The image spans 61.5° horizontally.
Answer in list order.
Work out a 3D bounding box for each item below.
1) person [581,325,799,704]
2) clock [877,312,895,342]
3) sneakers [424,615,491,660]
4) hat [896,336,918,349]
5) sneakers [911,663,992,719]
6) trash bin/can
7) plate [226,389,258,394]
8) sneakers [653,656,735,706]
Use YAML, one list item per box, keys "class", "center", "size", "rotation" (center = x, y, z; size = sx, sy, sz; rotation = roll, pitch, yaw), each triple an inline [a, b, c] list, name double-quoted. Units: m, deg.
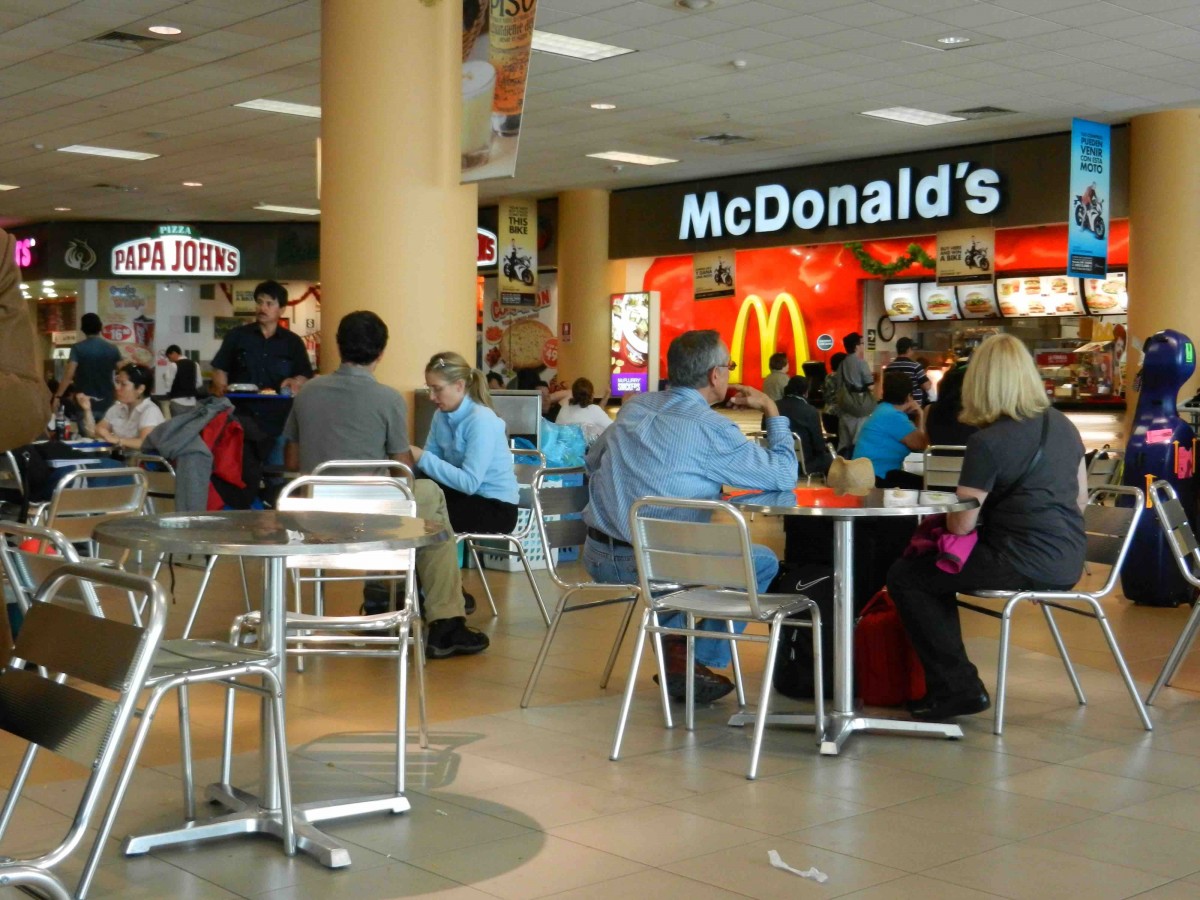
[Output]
- class: "person"
  center: [0.339, 0.291, 4.713]
  size: [1.019, 1.537, 0.851]
  rotation: [1, 14, -14]
- class: "clock"
  center: [4.043, -1.714, 14.279]
  size: [0.054, 0.441, 0.420]
  rotation: [-10, 12, -38]
- class: "sneakers"
  center: [-0.768, 0.989, 5.350]
  size: [0.393, 0.259, 0.142]
  rotation: [-3, 6, -28]
- class: "hat"
  center: [3.830, -1.305, 12.688]
  size: [0.210, 0.158, 0.307]
  rotation: [6, 19, 33]
- class: "sneakers"
  center: [1.372, 1.023, 4.209]
  size: [0.458, 0.174, 0.154]
  rotation: [-6, -2, 30]
- class: "trash bin/can"
  center: [-0.815, 0.102, 5.712]
  size: [0.785, 0.713, 0.600]
  rotation: [1, 10, -30]
- class: "plate"
  center: [-3.056, -0.497, 8.638]
  size: [0.132, 0.031, 0.086]
  rotation: [1, -3, -8]
- class: "sneakers"
  center: [0.437, 1.063, 4.525]
  size: [0.373, 0.148, 0.128]
  rotation: [-1, -3, 18]
